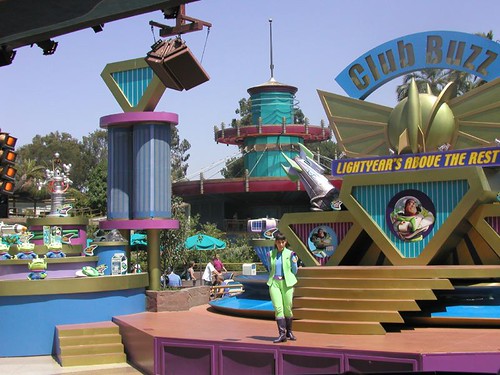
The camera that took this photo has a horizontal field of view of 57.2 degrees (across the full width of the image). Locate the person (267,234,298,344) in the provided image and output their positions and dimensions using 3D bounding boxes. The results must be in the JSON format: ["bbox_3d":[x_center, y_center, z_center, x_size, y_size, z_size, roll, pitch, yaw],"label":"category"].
[{"bbox_3d":[0.699,2.168,9.828,0.734,2.289,0.467,-8,1,-6],"label":"person"}]

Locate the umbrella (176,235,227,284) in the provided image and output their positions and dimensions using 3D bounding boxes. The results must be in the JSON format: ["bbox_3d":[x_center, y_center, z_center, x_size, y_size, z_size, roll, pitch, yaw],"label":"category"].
[{"bbox_3d":[-3.054,4.980,32.736,2.833,2.013,2.884,-2,1,-8],"label":"umbrella"}]

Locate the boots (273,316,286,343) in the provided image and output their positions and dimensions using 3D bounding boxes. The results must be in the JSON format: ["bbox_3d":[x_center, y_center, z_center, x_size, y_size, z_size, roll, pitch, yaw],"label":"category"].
[{"bbox_3d":[0.633,3.030,9.712,0.186,0.508,0.372,-7,2,39],"label":"boots"}]
